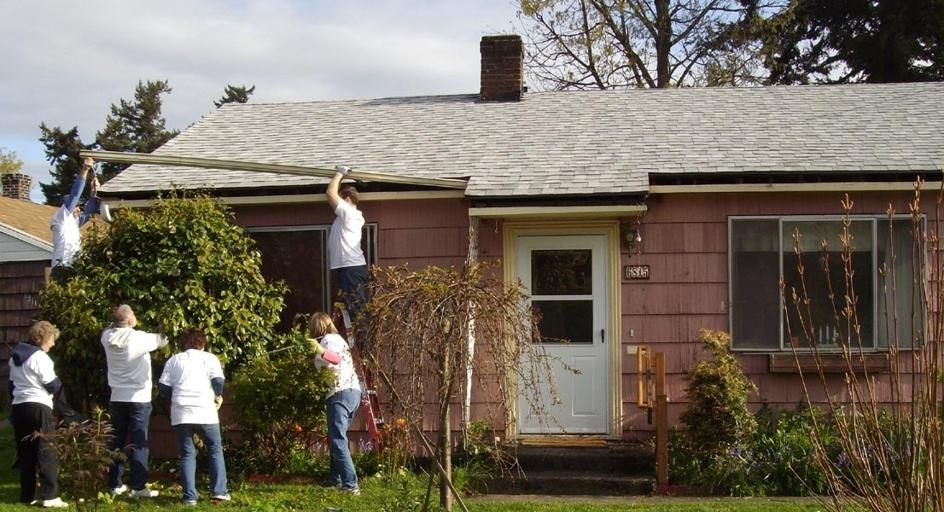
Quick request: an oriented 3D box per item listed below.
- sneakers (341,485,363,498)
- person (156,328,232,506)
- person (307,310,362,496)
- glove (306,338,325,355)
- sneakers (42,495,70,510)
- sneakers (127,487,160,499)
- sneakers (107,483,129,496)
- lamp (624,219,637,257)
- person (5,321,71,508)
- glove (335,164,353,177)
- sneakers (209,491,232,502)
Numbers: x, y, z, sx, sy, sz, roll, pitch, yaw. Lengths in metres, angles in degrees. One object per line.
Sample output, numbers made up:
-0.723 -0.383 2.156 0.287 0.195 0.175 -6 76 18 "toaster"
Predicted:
-2.275 4.465 25.789 0.412 0.183 0.151 3 0 13 "sneakers"
-5.213 3.022 25.587 1.276 3.266 0.336 3 -9 -13 "person"
-2.601 2.806 25.992 1.051 3.415 0.632 4 -9 -22 "person"
-3.029 1.774 26.223 0.299 0.342 1.066 2 -9 -10 "glove"
-7.826 4.631 25.469 0.503 0.218 0.201 0 -2 -8 "sneakers"
-6.238 4.492 25.752 0.538 0.231 0.212 0 -7 -2 "sneakers"
-6.712 4.456 25.851 0.318 0.188 0.149 7 -11 -38 "sneakers"
3.275 -0.353 27.548 0.202 0.467 0.636 11 -18 -14 "lamp"
-8.231 2.992 25.620 1.024 3.432 0.504 3 -9 -18 "person"
-2.532 -1.653 27.042 0.261 0.223 0.321 -4 -9 25 "glove"
-4.698 4.537 25.600 0.144 0.159 0.373 6 8 12 "sneakers"
